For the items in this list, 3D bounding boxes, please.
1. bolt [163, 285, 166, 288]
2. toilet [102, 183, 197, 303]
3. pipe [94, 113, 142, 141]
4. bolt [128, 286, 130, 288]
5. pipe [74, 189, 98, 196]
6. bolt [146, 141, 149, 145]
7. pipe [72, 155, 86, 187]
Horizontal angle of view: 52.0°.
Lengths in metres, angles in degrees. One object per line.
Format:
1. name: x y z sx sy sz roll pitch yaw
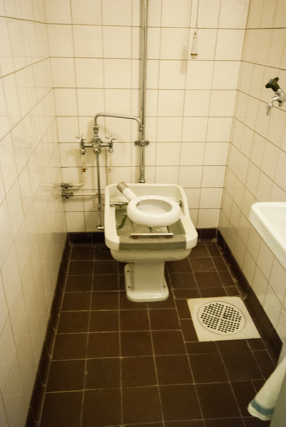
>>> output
1. bolt: 0.140 0.486 1.984 0.012 0.004 0.016 6 26 -3
2. toilet: 0.028 0.038 1.972 0.547 0.987 0.758 -1 35 -2
3. pipe: -0.193 -0.635 2.106 0.294 0.180 0.056 0 64 -7
4. bolt: -0.097 0.488 1.973 0.011 0.001 0.015 -1 36 -4
5. pipe: -0.463 -0.173 2.328 0.166 0.036 0.031 -2 33 -1
6. bolt: 0.030 -0.531 2.188 0.012 0.021 0.016 -2 -13 -3
7. pipe: -0.497 -0.343 2.253 0.092 0.289 0.047 1 31 -2
